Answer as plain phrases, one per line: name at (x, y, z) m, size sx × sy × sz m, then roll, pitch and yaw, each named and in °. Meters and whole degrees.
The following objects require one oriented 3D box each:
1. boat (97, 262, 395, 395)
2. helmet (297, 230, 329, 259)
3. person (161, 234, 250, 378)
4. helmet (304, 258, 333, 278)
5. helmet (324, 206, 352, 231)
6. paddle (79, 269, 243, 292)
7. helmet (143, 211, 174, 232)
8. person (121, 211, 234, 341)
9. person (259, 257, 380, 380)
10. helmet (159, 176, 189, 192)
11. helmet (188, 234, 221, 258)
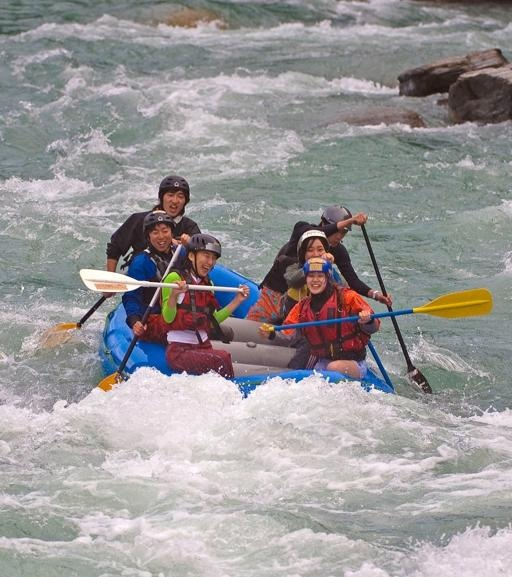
boat at (-0.439, 0.305, 8.695) m, size 1.997 × 0.252 × 1.473 m, roll 5°, pitch 38°, yaw -4°
helmet at (0.508, -0.399, 8.518) m, size 0.299 × 0.203 × 0.248 m, roll 1°, pitch 5°, yaw 0°
person at (-0.490, 0.156, 8.339) m, size 0.672 × 1.268 × 0.670 m, roll 4°, pitch 12°, yaw 31°
helmet at (0.550, -0.183, 8.187) m, size 0.242 × 0.157 × 0.153 m, roll -2°, pitch 9°, yaw -2°
helmet at (0.776, -0.664, 8.961) m, size 0.243 × 0.221 × 0.328 m, roll -3°, pitch 8°, yaw -7°
paddle at (-0.850, -0.068, 8.654) m, size 1.359 × 0.051 × 0.222 m, roll 4°, pitch 35°, yaw 3°
helmet at (-0.883, -0.613, 8.752) m, size 0.279 × 0.195 × 0.262 m, roll -3°, pitch 8°, yaw -5°
person at (-0.919, -0.141, 8.731) m, size 0.639 × 1.080 × 0.774 m, roll 29°, pitch 10°, yaw 24°
person at (0.585, 0.262, 8.279) m, size 0.901 × 1.068 × 0.553 m, roll 4°, pitch 13°, yaw 35°
helmet at (-0.771, -1.020, 9.195) m, size 0.255 × 0.146 × 0.249 m, roll 1°, pitch 8°, yaw 19°
helmet at (-0.421, -0.375, 8.293) m, size 0.303 × 0.144 × 0.191 m, roll 20°, pitch 8°, yaw 12°
